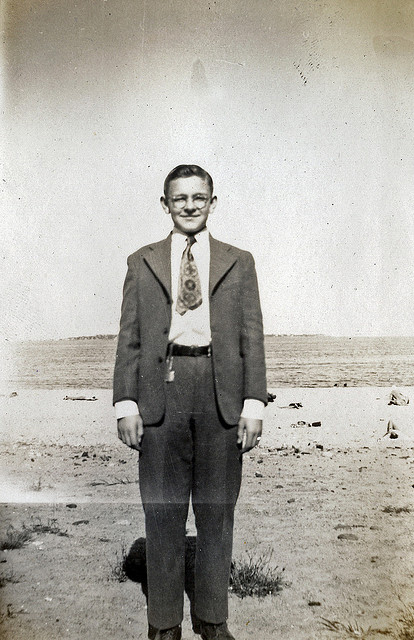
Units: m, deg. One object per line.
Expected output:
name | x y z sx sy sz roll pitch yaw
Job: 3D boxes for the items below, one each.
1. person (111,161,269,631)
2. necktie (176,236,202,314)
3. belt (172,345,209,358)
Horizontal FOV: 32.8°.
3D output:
person | -0.063 0.289 2.658 0.567 1.796 0.233 2 -3 5
necktie | -0.070 -0.166 2.662 0.079 0.341 0.037 -1 -28 -1
belt | -0.061 0.116 2.573 0.131 0.048 0.011 4 -3 7
